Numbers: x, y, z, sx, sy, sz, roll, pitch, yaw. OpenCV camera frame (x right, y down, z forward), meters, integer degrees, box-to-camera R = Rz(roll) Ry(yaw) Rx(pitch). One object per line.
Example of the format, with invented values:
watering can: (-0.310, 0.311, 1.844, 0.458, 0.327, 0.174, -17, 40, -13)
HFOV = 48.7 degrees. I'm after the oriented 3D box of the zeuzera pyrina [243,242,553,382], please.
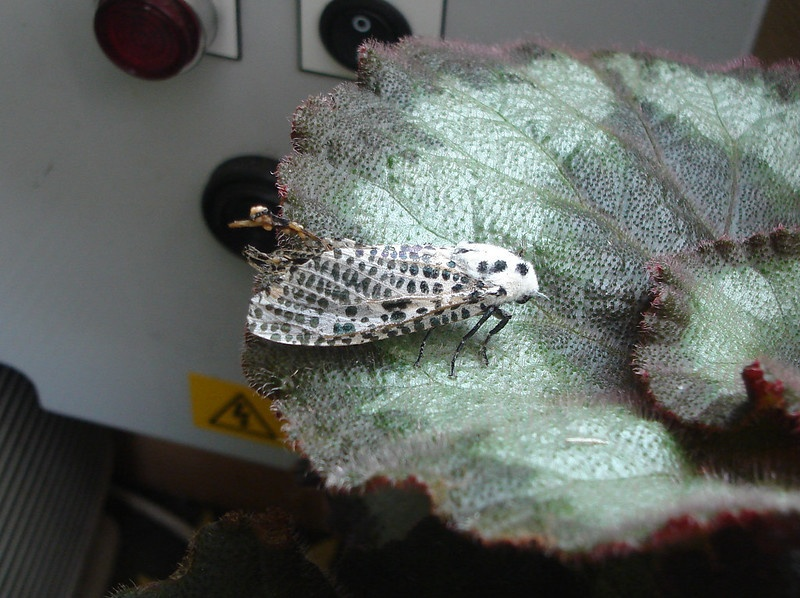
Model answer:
zeuzera pyrina: (-0.023, -0.011, 1.443, 0.356, 0.126, 0.252, 13, 29, -6)
